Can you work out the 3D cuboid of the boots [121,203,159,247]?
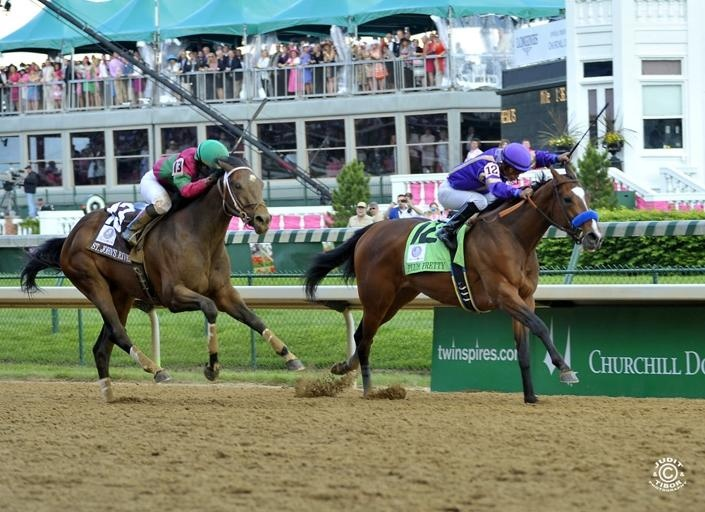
[{"bbox_3d":[-2.153,-0.335,13.299,0.196,0.505,0.289,45,1,28],"label":"boots"}]

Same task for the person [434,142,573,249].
[{"bbox_3d":[1.533,-0.694,13.228,1.288,0.960,0.937,3,22,25],"label":"person"}]

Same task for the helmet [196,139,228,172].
[{"bbox_3d":[-1.381,-1.032,13.132,0.261,0.282,0.407,-13,19,-36],"label":"helmet"}]
